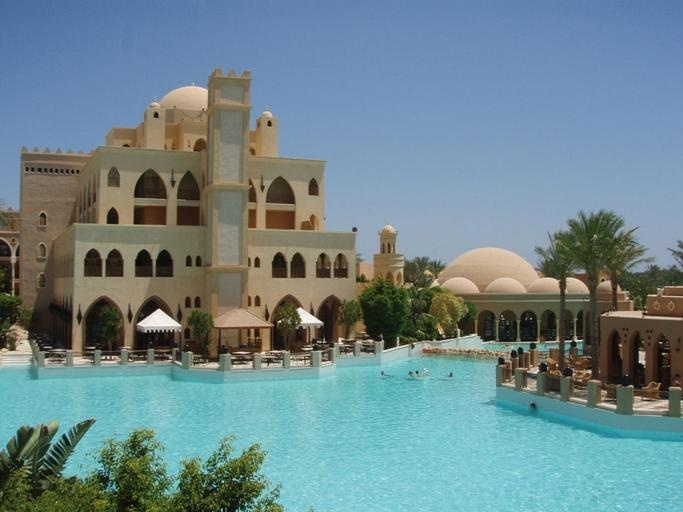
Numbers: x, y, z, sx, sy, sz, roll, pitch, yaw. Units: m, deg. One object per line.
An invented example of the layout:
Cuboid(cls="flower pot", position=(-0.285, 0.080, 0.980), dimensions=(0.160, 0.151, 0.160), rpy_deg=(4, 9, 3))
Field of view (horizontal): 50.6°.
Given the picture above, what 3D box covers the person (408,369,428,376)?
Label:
Cuboid(cls="person", position=(4.060, 6.336, 38.816), dimensions=(0.693, 0.305, 0.540), rpy_deg=(-1, 0, -7))
